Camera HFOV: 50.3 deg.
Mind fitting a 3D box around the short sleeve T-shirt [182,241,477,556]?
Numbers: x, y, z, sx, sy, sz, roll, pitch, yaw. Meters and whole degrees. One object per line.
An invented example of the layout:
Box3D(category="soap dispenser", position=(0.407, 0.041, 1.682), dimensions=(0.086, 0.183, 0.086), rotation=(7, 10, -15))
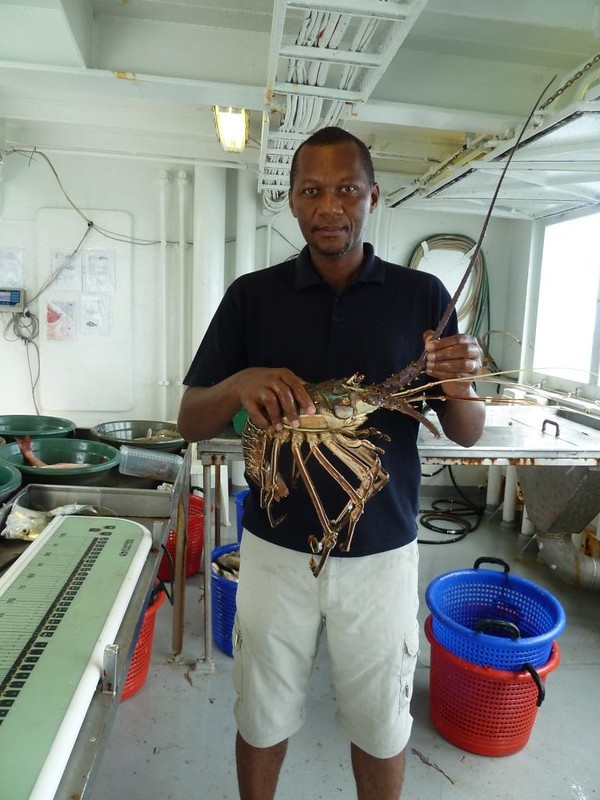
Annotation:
Box3D(category="short sleeve T-shirt", position=(0.087, -0.006, 1.703), dimensions=(0.867, 0.710, 0.351), rotation=(2, 8, 7))

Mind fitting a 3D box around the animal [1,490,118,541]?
Box3D(category="animal", position=(-0.833, 0.374, 2.123), dimensions=(0.225, 0.077, 0.334), rotation=(9, 15, 28))

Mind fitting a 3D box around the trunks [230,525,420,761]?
Box3D(category="trunks", position=(0.064, 0.589, 1.648), dimensions=(0.461, 0.545, 0.219), rotation=(2, 5, 3))
